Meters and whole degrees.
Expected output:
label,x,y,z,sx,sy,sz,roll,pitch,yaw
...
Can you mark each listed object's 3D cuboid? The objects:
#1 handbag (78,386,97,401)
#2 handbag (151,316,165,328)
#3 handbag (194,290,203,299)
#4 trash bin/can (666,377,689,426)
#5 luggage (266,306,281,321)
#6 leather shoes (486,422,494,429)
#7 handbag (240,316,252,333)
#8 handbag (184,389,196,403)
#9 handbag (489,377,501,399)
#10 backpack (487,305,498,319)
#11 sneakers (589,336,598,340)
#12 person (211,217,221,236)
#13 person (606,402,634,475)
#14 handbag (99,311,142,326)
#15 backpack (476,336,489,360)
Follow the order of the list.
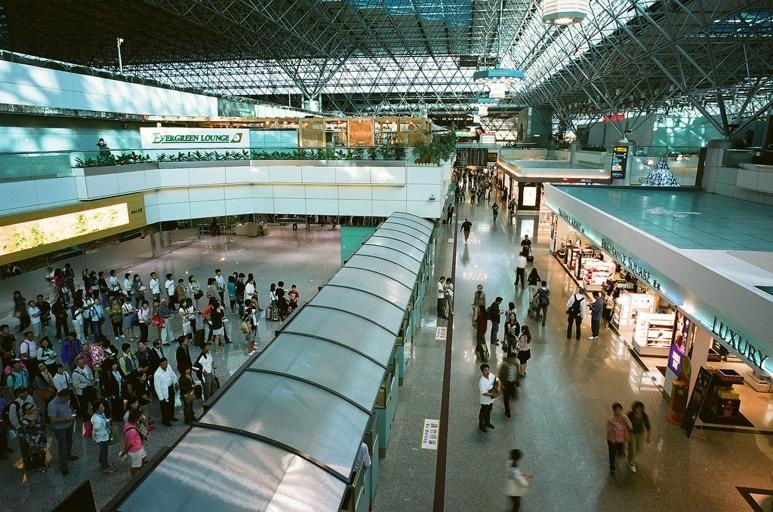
label,x,y,z,sx,sy,sz,roll,pitch,yaw
handbag,-9.180,4.184,15.192,0.446,0.423,0.437,-5,6,-33
handbag,-8.552,2.466,18.556,0.393,0.195,0.472,12,28,-39
handbag,-8.265,1.679,21.677,0.287,0.384,0.377,1,-8,-34
trash bin/can,9.253,4.561,15.663,0.470,1.237,0.764,11,21,34
luggage,-4.871,2.493,21.314,0.674,0.658,0.503,0,16,1
leather shoes,3.224,5.191,15.318,0.268,0.179,0.179,1,17,4
handbag,-5.249,2.639,18.524,0.361,0.589,0.279,0,17,2
handbag,-6.084,4.295,15.309,0.371,0.318,0.183,-13,21,-35
handbag,3.413,4.084,15.282,0.186,0.638,0.385,7,29,-28
backpack,4.118,2.168,19.131,0.324,0.395,0.435,-20,28,-3
sneakers,8.316,3.236,19.864,0.372,0.161,0.138,-4,22,8
person,-12.300,-2.169,35.591,0.387,0.468,1.150,21,-21,-20
person,6.630,5.162,14.181,0.894,1.880,0.519,-15,22,-38
handbag,-10.665,2.492,19.930,1.380,0.451,0.526,-3,20,-23
backpack,3.589,3.387,18.396,0.454,0.697,0.819,2,17,9
